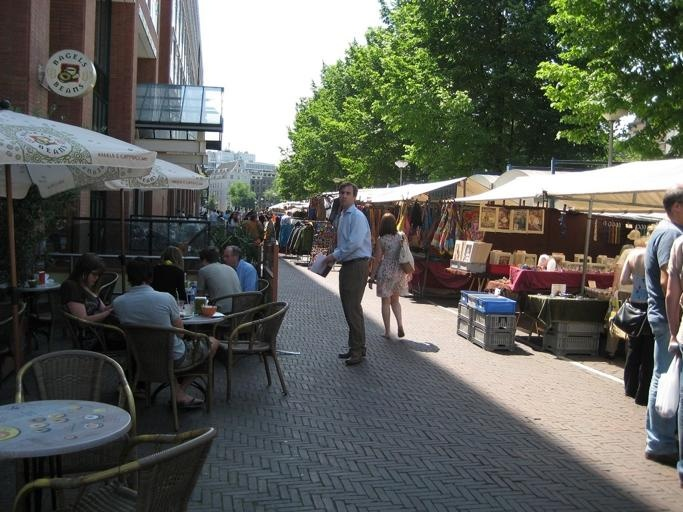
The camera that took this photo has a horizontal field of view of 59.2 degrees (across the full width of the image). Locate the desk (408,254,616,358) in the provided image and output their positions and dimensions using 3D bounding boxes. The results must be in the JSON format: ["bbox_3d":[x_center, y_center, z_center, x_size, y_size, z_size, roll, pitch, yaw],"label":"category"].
[{"bbox_3d":[3.648,0.788,13.239,1.999,1.485,6.920,1,6,-12],"label":"desk"}]

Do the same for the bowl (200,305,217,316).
[{"bbox_3d":[-1.527,0.628,6.951,0.125,0.095,0.129,2,3,0],"label":"bowl"}]

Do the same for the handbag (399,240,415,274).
[{"bbox_3d":[1.167,0.014,10.657,0.237,0.612,0.434,4,6,16],"label":"handbag"}]

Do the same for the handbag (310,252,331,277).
[{"bbox_3d":[-0.324,0.139,8.965,0.308,0.417,0.688,2,6,-5],"label":"handbag"}]

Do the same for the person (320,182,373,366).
[{"bbox_3d":[0.120,0.235,8.847,0.566,2.646,0.618,3,6,4],"label":"person"}]

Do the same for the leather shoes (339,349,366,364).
[{"bbox_3d":[0.138,1.508,8.838,0.471,0.217,0.158,4,8,31],"label":"leather shoes"}]

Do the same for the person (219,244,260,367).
[{"bbox_3d":[-1.624,0.364,9.335,0.678,1.108,0.535,14,19,43],"label":"person"}]

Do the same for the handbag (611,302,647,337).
[{"bbox_3d":[3.496,0.764,7.292,0.143,0.366,0.373,13,14,-26],"label":"handbag"}]

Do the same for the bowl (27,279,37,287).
[{"bbox_3d":[-4.557,0.399,8.824,0.099,0.077,0.105,0,-5,0],"label":"bowl"}]
